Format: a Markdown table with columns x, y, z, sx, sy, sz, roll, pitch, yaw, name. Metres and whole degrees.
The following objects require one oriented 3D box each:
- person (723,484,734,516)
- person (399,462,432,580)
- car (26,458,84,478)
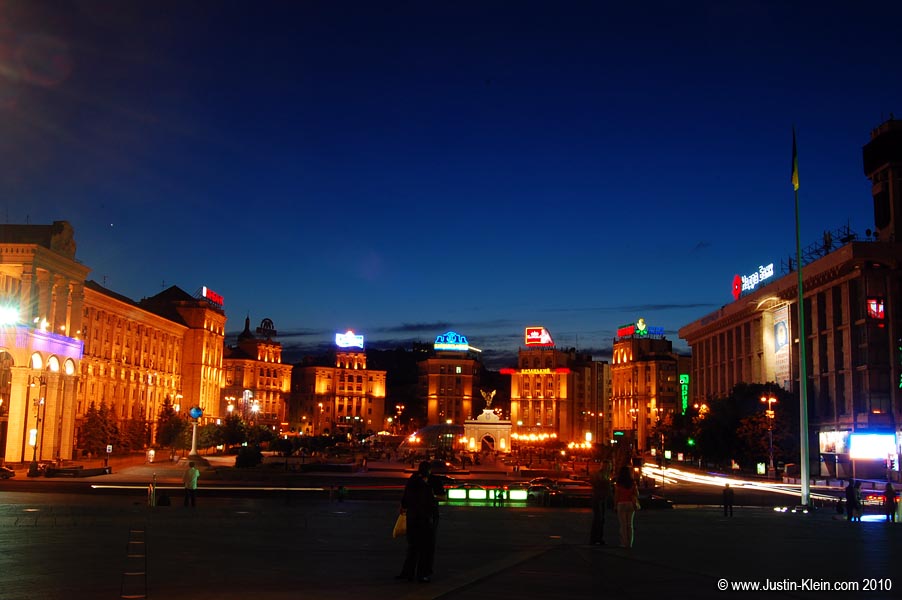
| x | y | z | sx | sy | sz | roll | pitch | yaw | name |
| --- | --- | --- | --- | --- | --- | --- | --- | --- | --- |
| 13.495 | 9.766 | 40.956 | 0.362 | 1.535 | 2.622 | -5 | -16 | 21 | person |
| -0.951 | 6.201 | 23.525 | 0.774 | 3.215 | 0.582 | 1 | -15 | -2 | person |
| -32.379 | 13.882 | 68.487 | 3.439 | 1.630 | 8.075 | 8 | -17 | -25 | car |
